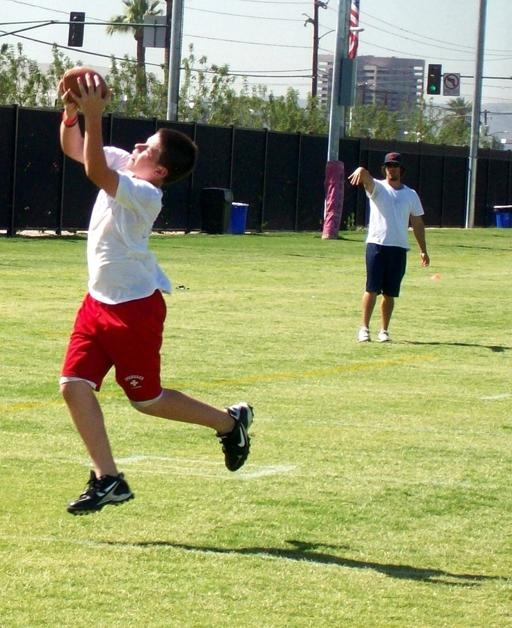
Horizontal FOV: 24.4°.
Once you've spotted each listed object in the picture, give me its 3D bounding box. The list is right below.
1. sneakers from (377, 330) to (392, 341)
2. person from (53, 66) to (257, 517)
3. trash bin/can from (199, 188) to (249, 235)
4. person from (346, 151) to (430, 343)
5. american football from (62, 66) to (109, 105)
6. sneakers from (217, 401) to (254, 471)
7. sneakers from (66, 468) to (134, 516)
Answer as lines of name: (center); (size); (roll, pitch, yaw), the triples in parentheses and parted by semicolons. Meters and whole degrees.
sneakers: (1.178, 0.192, 10.823); (0.098, 0.108, 0.260); (2, 1, 7)
person: (-0.457, -0.106, 4.872); (0.754, 1.741, 0.657); (2, 4, -9)
trash bin/can: (-0.712, -2.363, 27.009); (0.878, 0.870, 1.206); (4, 8, 19)
person: (1.200, -0.625, 10.772); (0.736, 1.717, 1.377); (3, 4, 7)
american football: (-0.702, -0.944, 4.739); (0.170, 0.124, 0.134); (32, 52, 32)
sneakers: (-0.113, 0.557, 5.440); (0.169, 0.330, 0.124); (-8, 12, -42)
sneakers: (-0.607, 0.699, 4.701); (0.329, 0.167, 0.114); (-10, 0, -43)
